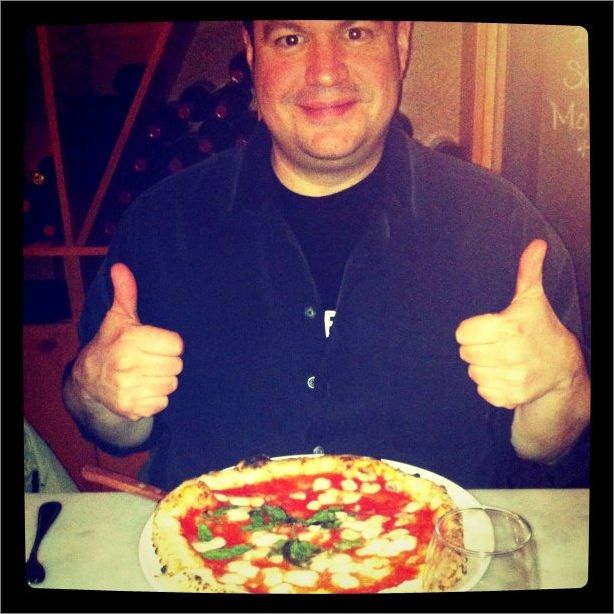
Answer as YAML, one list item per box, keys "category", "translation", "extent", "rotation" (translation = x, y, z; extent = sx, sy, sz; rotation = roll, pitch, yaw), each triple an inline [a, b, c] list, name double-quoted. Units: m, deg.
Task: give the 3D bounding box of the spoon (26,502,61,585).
- category: "spoon"
  translation: [-0.620, 0.550, 1.541]
  extent: [0.062, 0.209, 0.010]
  rotation: [5, 1, -3]

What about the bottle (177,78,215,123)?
- category: "bottle"
  translation: [-0.258, -0.466, 1.516]
  extent: [0.069, 0.098, 0.028]
  rotation: [19, 12, -4]

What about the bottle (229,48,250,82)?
- category: "bottle"
  translation: [-0.156, -0.545, 1.505]
  extent: [0.051, 0.061, 0.036]
  rotation: [-8, 31, -1]

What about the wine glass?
- category: "wine glass"
  translation: [0.370, 0.500, 1.423]
  extent: [0.205, 0.214, 0.212]
  rotation: [-1, -4, -2]

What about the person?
- category: "person"
  translation: [0.028, -0.099, 1.535]
  extent: [1.208, 0.993, 0.507]
  rotation: [-5, 31, 4]

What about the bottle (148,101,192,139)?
- category: "bottle"
  translation: [-0.316, -0.423, 1.519]
  extent: [0.063, 0.103, 0.032]
  rotation: [37, 7, -6]
